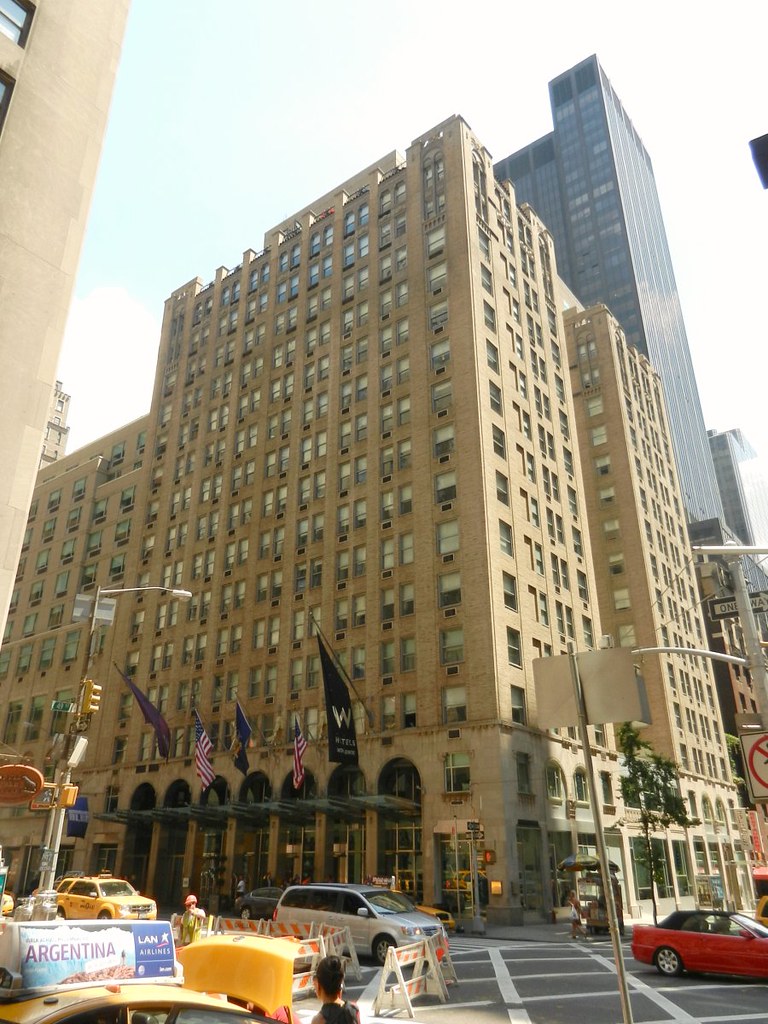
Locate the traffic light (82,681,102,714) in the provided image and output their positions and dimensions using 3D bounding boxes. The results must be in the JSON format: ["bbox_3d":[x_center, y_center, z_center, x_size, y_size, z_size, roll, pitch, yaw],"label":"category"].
[{"bbox_3d":[-7.063,4.452,17.388,0.411,0.866,1.110,10,-26,-22],"label":"traffic light"}]

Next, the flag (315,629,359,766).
[{"bbox_3d":[-2.298,9.054,34.748,1.128,5.537,2.985,-6,-25,11],"label":"flag"}]
